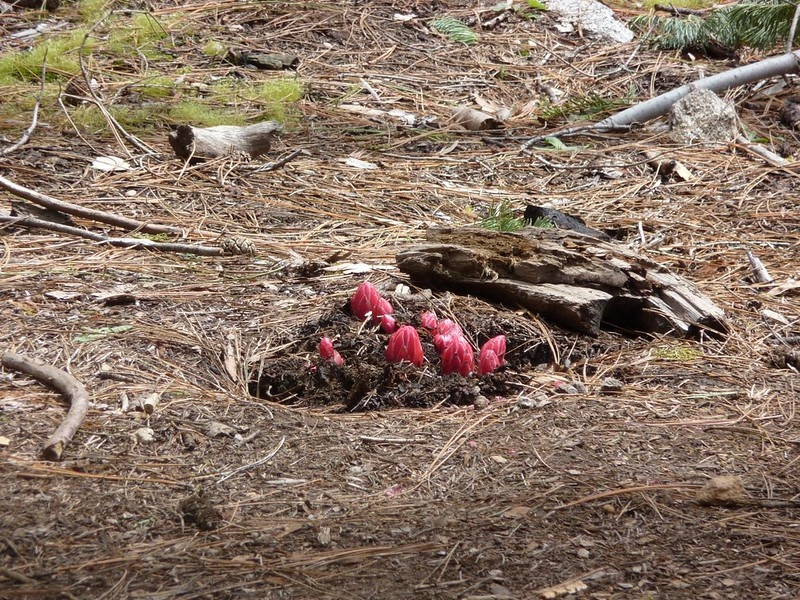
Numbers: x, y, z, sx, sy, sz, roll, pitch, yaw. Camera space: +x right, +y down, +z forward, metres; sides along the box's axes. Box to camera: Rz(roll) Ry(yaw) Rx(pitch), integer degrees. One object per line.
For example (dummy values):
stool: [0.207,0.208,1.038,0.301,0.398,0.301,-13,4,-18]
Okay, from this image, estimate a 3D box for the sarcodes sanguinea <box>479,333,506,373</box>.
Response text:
sarcodes sanguinea: [0.509,0.297,4.553,0.186,0.099,0.198,5,56,7]

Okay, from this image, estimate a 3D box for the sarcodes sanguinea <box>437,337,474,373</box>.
sarcodes sanguinea: [0.328,0.307,4.515,0.185,0.186,0.180,7,32,0]
